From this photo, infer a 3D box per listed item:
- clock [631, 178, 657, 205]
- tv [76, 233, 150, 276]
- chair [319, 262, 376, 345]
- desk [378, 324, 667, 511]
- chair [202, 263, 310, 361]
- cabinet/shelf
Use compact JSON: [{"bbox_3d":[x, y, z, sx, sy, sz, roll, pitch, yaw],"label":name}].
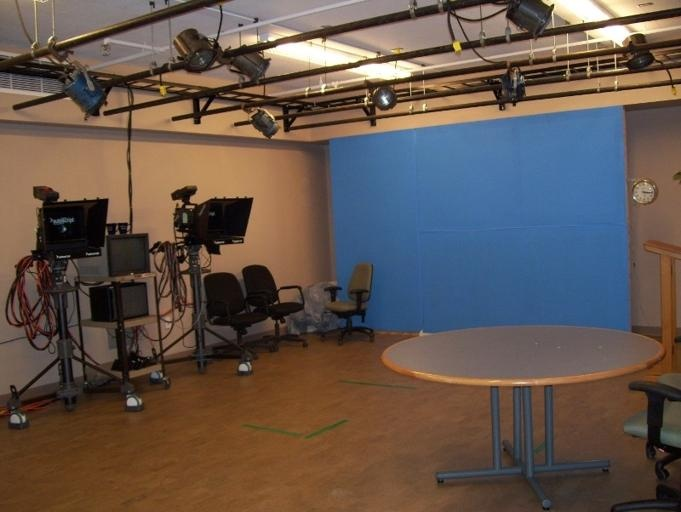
[{"bbox_3d":[4.502,-0.966,7.972,0.342,0.391,0.152,-10,2,45],"label":"clock"},{"bbox_3d":[-2.689,0.006,6.419,0.602,0.452,0.598,0,3,29],"label":"tv"},{"bbox_3d":[0.170,0.725,8.584,0.825,1.172,1.116,-4,8,-2],"label":"chair"},{"bbox_3d":[1.334,1.187,4.009,1.889,1.104,1.302,-4,8,-5],"label":"desk"},{"bbox_3d":[-1.397,0.821,8.185,1.096,1.236,1.418,4,11,40],"label":"chair"},{"bbox_3d":[-2.662,0.925,6.519,0.956,1.478,1.704,-8,9,-26],"label":"cabinet/shelf"}]
